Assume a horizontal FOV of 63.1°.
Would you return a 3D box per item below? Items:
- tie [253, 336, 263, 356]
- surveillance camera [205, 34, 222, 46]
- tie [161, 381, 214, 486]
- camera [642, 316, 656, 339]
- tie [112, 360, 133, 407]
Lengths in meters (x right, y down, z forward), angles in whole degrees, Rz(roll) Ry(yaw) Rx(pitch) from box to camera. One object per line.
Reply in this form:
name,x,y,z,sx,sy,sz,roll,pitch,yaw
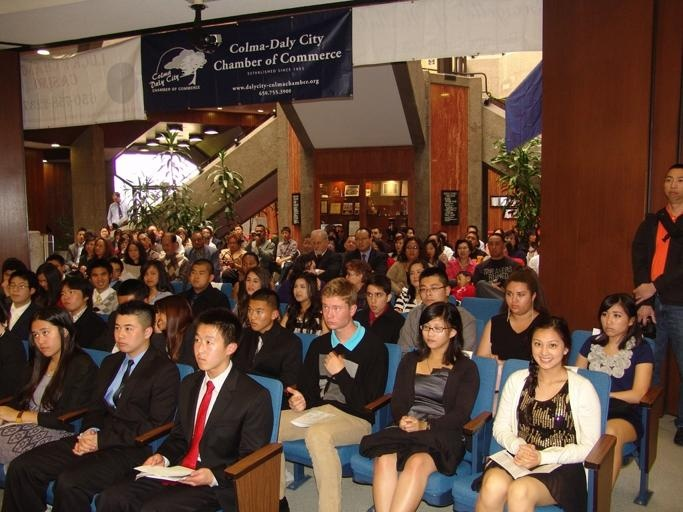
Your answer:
tie,-0.692,0.755,4.628,0.030,0.188,0.089,17,18,-12
surveillance camera,-1.422,-2.385,6.167,0.158,0.121,0.053,0,4,11
tie,-0.957,1.116,3.516,0.122,0.673,0.083,8,-11,24
camera,2.587,0.605,4.706,0.072,0.170,0.159,12,-11,-41
tie,-1.556,0.923,3.963,0.052,0.314,0.084,22,-23,-9
